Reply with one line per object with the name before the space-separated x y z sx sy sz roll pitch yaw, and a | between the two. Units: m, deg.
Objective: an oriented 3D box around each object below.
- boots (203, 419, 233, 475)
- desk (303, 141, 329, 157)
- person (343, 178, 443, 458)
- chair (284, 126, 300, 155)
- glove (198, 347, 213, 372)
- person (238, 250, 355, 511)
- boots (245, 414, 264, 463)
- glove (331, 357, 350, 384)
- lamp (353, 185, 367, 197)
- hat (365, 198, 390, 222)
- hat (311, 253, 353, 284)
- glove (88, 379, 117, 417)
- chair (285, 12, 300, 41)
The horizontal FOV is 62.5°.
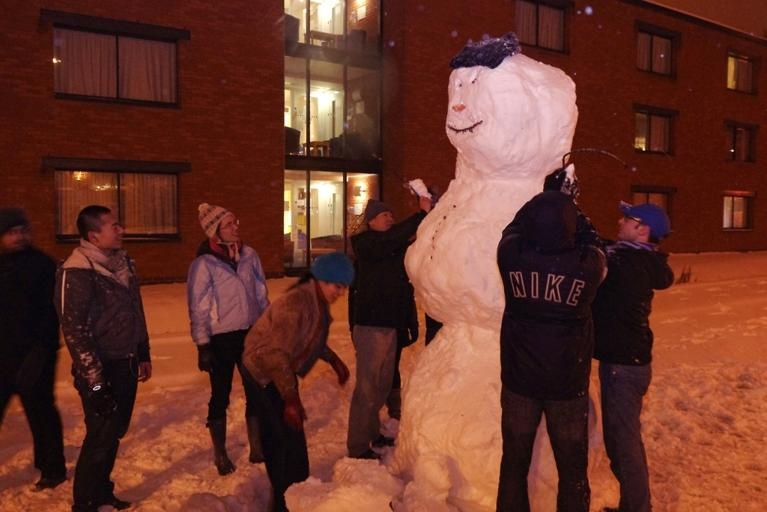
boots | -1.861 2.110 7.213 0.279 0.595 0.503 -2 6 -16
desk | -1.838 -2.916 17.302 0.751 0.455 1.284 0 6 -3
person | 0.047 0.778 7.212 0.860 2.915 0.745 0 5 3
chair | -2.427 -3.023 16.756 0.364 0.704 0.865 -1 6 -6
glove | -1.954 1.129 6.907 0.228 0.215 0.174 0 5 24
person | -0.891 1.274 6.373 1.020 2.619 0.531 -2 6 -16
boots | -1.459 2.121 7.242 0.124 0.186 0.541 -19 48 8
glove | -0.494 1.207 6.969 0.117 0.142 0.520 -35 19 0
lamp | -0.660 -1.866 18.241 0.293 0.320 0.083 -3 5 31
hat | -0.117 -0.556 7.511 0.257 0.224 0.242 -27 -3 36
hat | -0.497 0.101 6.351 0.370 0.277 0.272 24 14 0
glove | -2.812 1.419 6.315 0.237 0.321 0.078 -3 6 -27
chair | -2.447 -6.003 16.784 0.331 0.663 0.523 -1 6 -11
